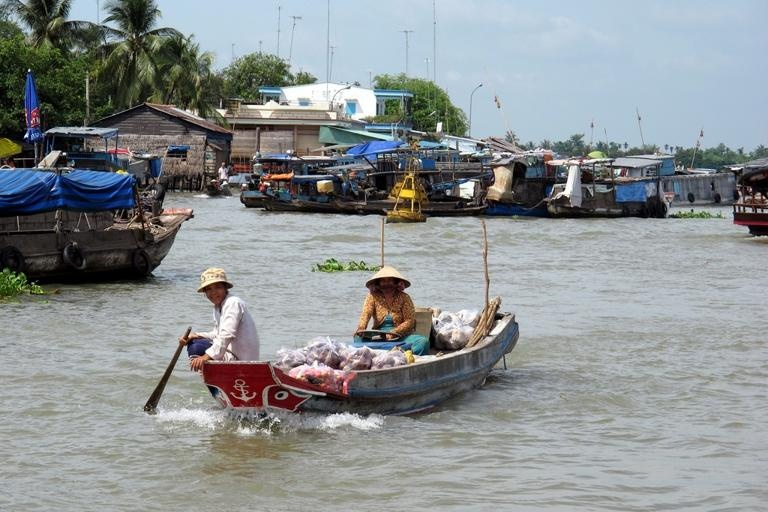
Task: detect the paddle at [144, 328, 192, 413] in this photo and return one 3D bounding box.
[{"bbox_3d":[-3.936,2.144,23.680,0.367,2.759,0.261,21,37,-13],"label":"paddle"}]

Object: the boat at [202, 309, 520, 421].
[{"bbox_3d":[-0.163,2.101,25.375,3.576,1.463,6.754,-5,4,43],"label":"boat"}]

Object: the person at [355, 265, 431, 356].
[{"bbox_3d":[0.165,1.089,24.610,1.021,1.863,1.218,1,-1,14],"label":"person"}]

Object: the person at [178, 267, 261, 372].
[{"bbox_3d":[-2.827,1.067,23.148,1.269,1.713,0.646,-1,9,-10],"label":"person"}]

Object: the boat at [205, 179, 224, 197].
[{"bbox_3d":[-8.026,-3.214,63.067,0.591,0.802,1.605,2,8,6],"label":"boat"}]
